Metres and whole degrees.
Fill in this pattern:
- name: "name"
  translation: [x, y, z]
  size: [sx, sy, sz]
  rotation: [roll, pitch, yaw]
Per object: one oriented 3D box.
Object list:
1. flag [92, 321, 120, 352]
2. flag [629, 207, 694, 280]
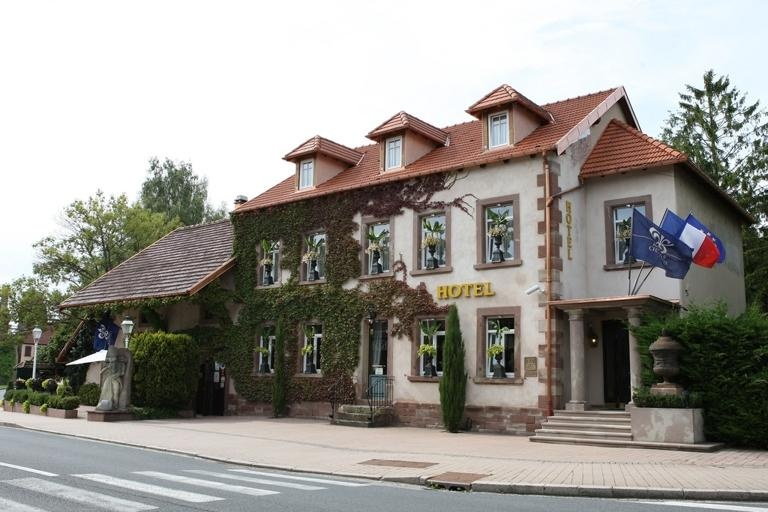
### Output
- name: "flag"
  translation: [-14.097, 4.118, 32.609]
  size: [1.417, 1.987, 0.209]
  rotation: [-5, -11, 28]
- name: "flag"
  translation: [9.844, -0.388, 22.686]
  size: [2.036, 1.831, 0.357]
  rotation: [27, -29, -8]
